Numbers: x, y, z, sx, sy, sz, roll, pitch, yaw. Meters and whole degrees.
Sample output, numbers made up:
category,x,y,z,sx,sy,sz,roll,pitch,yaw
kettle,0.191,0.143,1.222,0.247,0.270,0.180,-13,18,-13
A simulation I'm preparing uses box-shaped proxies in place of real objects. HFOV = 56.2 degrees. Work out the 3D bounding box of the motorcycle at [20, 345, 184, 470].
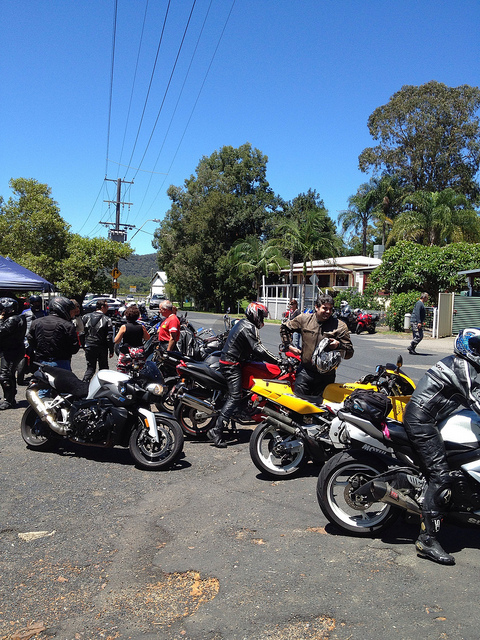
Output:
category,x,y,z,sx,sy,sz,roll,pitch,yaw
motorcycle,-1.562,0.968,4.991,2.057,1.155,0.797,2,-9,18

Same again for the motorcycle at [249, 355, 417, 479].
category,x,y,z,sx,sy,sz,roll,pitch,yaw
motorcycle,1.089,1.018,4.797,2.005,1.183,0.892,-3,6,-11

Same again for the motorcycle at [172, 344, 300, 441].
category,x,y,z,sx,sy,sz,roll,pitch,yaw
motorcycle,0.209,0.903,5.825,2.101,1.311,0.871,1,1,12

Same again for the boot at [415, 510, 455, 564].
category,x,y,z,sx,sy,sz,roll,pitch,yaw
boot,1.291,1.393,2.906,0.142,0.291,0.300,17,-18,-19

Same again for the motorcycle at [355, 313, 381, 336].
category,x,y,z,sx,sy,sz,roll,pitch,yaw
motorcycle,7.268,0.195,25.521,1.080,1.220,1.688,0,-2,27

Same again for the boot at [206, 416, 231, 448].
category,x,y,z,sx,sy,sz,roll,pitch,yaw
boot,-0.237,1.391,5.703,0.226,0.420,0.442,2,-2,-26

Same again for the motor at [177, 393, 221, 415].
category,x,y,z,sx,sy,sz,roll,pitch,yaw
motor,-0.518,1.068,5.833,0.604,0.154,0.099,22,10,-9

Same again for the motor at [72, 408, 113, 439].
category,x,y,z,sx,sy,sz,roll,pitch,yaw
motor,-1.583,1.088,4.845,0.530,0.287,0.223,20,1,28
